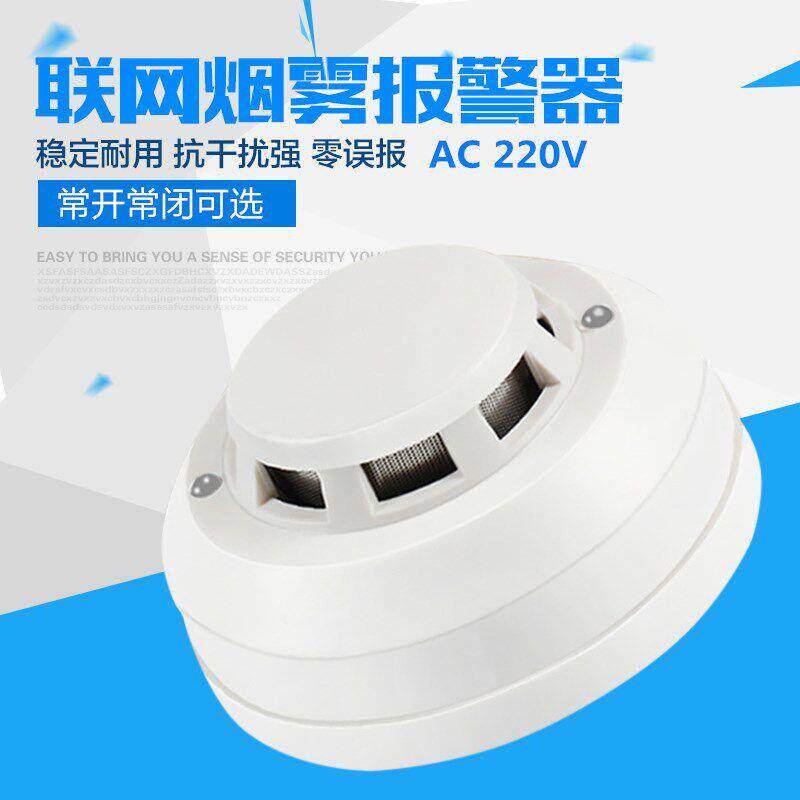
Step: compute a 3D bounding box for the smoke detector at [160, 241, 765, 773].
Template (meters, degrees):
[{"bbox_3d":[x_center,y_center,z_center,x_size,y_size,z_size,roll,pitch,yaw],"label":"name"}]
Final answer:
[{"bbox_3d":[0.053,0.133,1.603,1.058,0.946,0.479,-27,-36,13],"label":"smoke detector"}]
